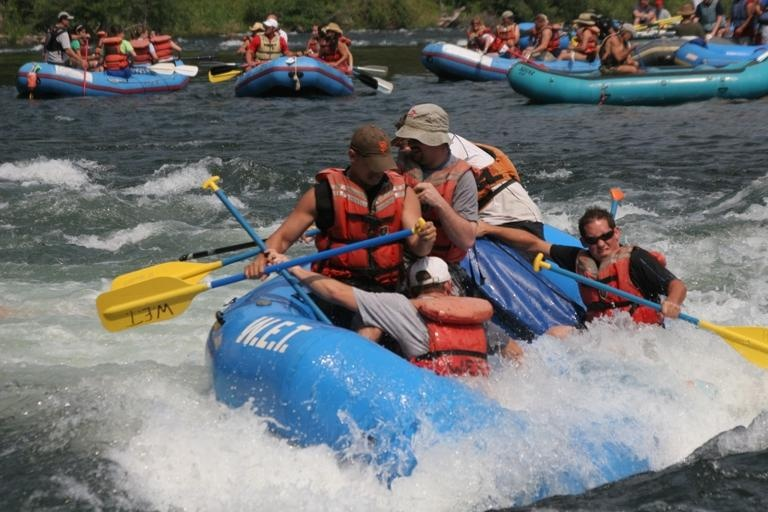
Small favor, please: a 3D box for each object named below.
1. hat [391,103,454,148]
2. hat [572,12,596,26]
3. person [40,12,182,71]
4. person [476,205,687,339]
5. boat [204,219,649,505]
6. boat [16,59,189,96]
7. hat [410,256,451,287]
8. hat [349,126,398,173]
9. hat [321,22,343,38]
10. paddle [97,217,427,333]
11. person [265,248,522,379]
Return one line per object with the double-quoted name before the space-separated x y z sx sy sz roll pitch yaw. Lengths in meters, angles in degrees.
"hat" 0.346 -1.225 8.576 0.520 0.226 0.398 6 7 13
"hat" 4.384 -5.123 19.842 0.559 0.183 0.484 -1 6 -11
"person" -5.991 -4.614 20.221 2.761 1.024 1.431 7 -5 -31
"person" 1.940 0.211 9.175 1.199 0.673 1.009 -36 50 2
"boat" 0.409 0.807 7.750 2.423 0.654 2.171 13 11 8
"boat" -6.150 -3.630 19.578 2.750 0.481 1.412 -4 9 -37
"hat" 0.380 0.146 8.130 0.267 0.154 0.330 1 2 18
"hat" -0.057 -0.983 8.256 0.484 0.254 0.328 37 42 22
"hat" -1.200 -5.060 20.568 0.371 0.339 0.920 -2 19 0
"paddle" -1.420 0.226 8.637 2.591 0.080 0.401 -15 13 4
"person" 0.241 0.337 8.226 1.136 0.528 1.414 20 7 -37
